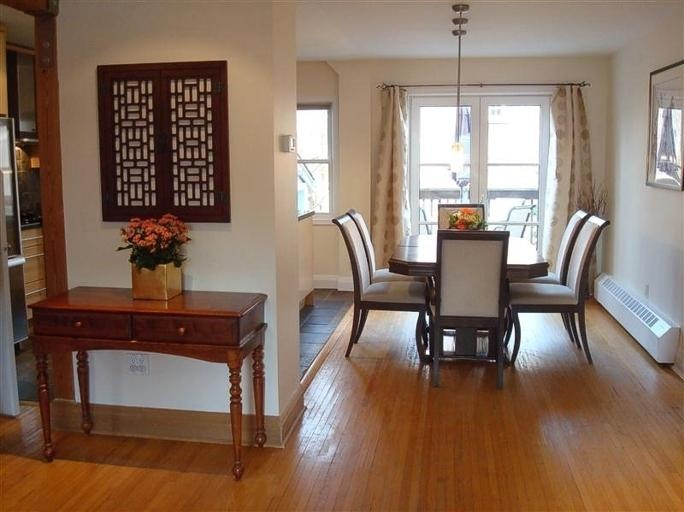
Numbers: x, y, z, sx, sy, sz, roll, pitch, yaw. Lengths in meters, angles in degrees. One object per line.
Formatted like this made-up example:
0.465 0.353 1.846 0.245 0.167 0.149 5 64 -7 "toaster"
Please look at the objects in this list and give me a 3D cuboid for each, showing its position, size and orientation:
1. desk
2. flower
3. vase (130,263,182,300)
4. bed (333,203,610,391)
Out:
-1.162 0.736 3.364 1.223 1.009 0.580 2 9 2 "desk"
-1.118 -0.080 3.248 0.338 0.261 0.359 8 12 26 "flower"
-1.106 0.153 3.233 0.213 0.212 0.230 0 6 5 "vase"
1.126 0.305 4.485 2.090 1.220 1.113 -4 12 -15 "bed"
